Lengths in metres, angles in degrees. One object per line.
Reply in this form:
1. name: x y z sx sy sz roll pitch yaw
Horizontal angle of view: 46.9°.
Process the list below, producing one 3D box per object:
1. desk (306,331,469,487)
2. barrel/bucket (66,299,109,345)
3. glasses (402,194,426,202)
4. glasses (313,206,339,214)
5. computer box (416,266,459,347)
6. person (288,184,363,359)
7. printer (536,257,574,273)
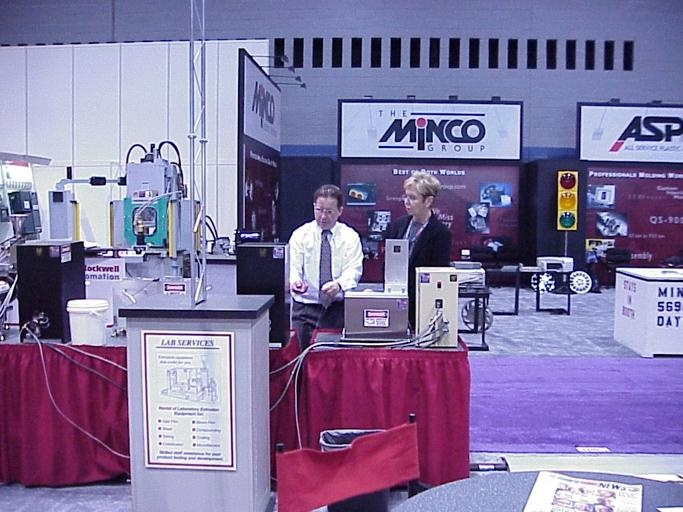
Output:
1. desk: 0.402 1.176 6.552 1.037 0.786 1.139 0 0 5
2. barrel/bucket: -2.051 0.534 6.437 0.336 0.383 0.326 0 0 0
3. glasses: 0.613 -0.507 6.793 0.184 0.057 0.076 3 4 39
4. glasses: -0.115 -0.399 6.874 0.184 0.051 0.077 1 3 -6
5. computer box: 0.763 0.377 6.231 0.381 0.795 0.521 0 2 2
6. person: -0.139 0.100 6.948 0.640 1.447 0.607 1 2 -1
7. printer: 3.221 0.134 12.019 0.619 0.208 0.262 0 3 -19
